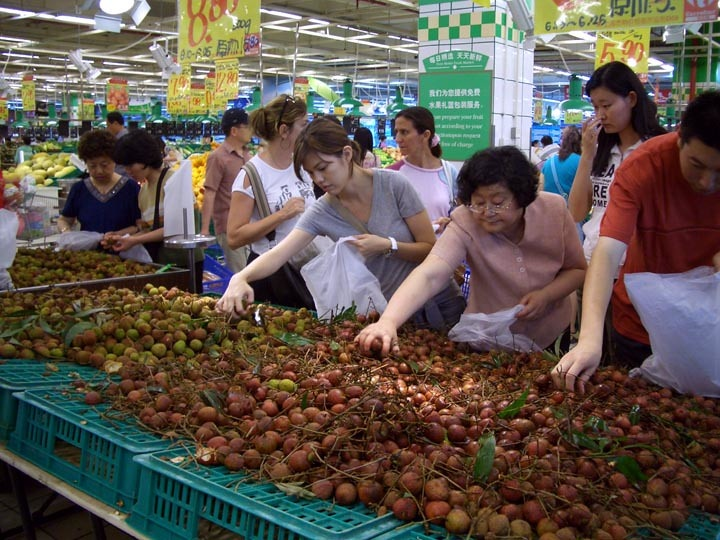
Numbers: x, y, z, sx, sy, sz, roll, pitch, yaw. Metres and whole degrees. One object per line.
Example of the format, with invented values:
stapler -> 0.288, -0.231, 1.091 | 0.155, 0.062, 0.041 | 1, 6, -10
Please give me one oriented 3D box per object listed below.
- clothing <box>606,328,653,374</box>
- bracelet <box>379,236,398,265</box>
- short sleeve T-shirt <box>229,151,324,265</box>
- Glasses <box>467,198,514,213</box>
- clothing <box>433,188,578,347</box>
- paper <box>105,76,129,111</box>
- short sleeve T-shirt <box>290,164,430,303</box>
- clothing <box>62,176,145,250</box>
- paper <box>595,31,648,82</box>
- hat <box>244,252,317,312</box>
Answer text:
clothing -> 1.173, 0.349, 2.058 | 0.118, 0.174, 0.221 | -28, -24, 11
bracelet -> 0.142, -0.109, 2.475 | 0.096, 0.185, 0.210 | 2, 9, -1
short sleeve T-shirt -> -0.515, -0.382, 2.950 | 0.267, 0.543, 0.533 | -15, 18, 47
Glasses -> 0.540, -0.257, 1.955 | 0.163, 0.057, 0.074 | 4, 11, 18
clothing -> 0.748, 0.011, 2.315 | 0.673, 0.733, 0.453 | -5, 39, 14
paper -> -7.752, -5.592, 15.134 | 0.590, 1.046, 0.881 | -5, 12, -28
short sleeve T-shirt -> 0.027, -0.123, 2.616 | 0.762, 0.832, 0.417 | -15, 26, -8
clothing -> -2.241, -0.471, 4.162 | 0.623, 0.667, 0.349 | -1, 19, -22
paper -> 3.152, -2.628, 5.722 | 0.573, 0.664, 0.016 | 7, -12, 17
hat -> -0.439, 0.066, 2.693 | 0.218, 0.279, 0.151 | -25, 9, 28
